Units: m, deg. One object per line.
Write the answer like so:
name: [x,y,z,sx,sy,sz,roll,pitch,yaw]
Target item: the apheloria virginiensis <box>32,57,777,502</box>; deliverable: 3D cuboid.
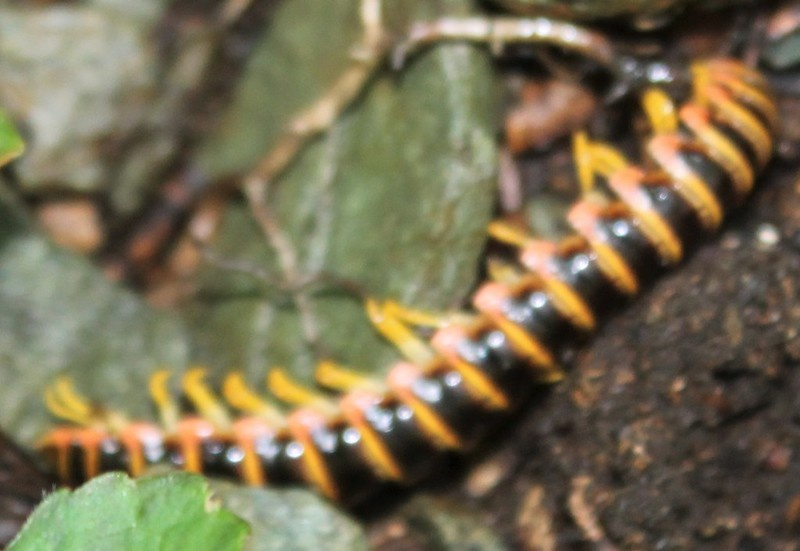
apheloria virginiensis: [0.175,0.139,3.595,2.673,0.562,0.618,-30,43,2]
